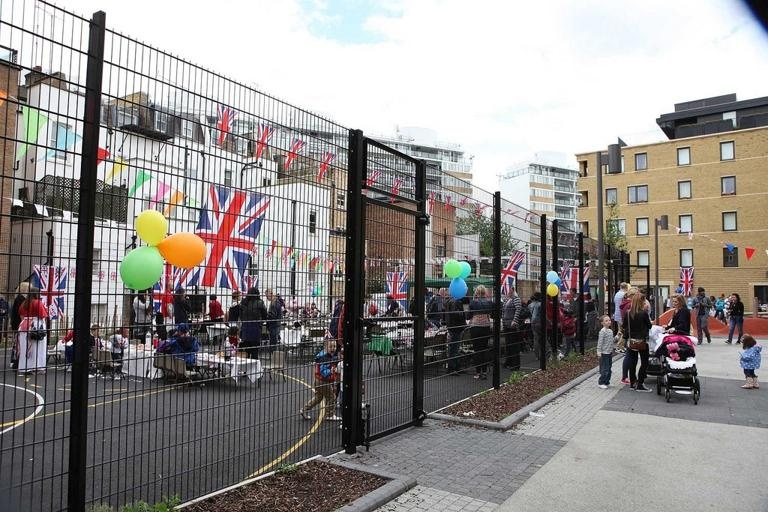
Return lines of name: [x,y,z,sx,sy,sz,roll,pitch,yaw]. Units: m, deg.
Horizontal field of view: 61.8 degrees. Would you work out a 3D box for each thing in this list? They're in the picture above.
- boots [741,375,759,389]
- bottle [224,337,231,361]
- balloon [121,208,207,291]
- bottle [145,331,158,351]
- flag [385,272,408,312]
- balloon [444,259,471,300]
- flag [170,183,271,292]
boots: [8.219,2.874,14.373,0.298,0.308,0.329,-5,-3,14]
bottle: [-1.823,1.085,7.449,0.021,0.234,0.107,2,2,29]
balloon: [-2.433,-0.051,7.066,0.876,0.876,0.361,0,2,-25]
bottle: [-2.479,0.916,6.860,0.152,0.197,0.041,-1,3,-41]
flag: [0.184,0.604,10.163,0.034,0.600,0.539,-10,-13,35]
balloon: [1.294,0.447,11.517,0.326,0.772,0.672,-5,-5,34]
flag: [-1.949,-0.179,7.455,0.942,1.238,0.085,21,-20,-38]
